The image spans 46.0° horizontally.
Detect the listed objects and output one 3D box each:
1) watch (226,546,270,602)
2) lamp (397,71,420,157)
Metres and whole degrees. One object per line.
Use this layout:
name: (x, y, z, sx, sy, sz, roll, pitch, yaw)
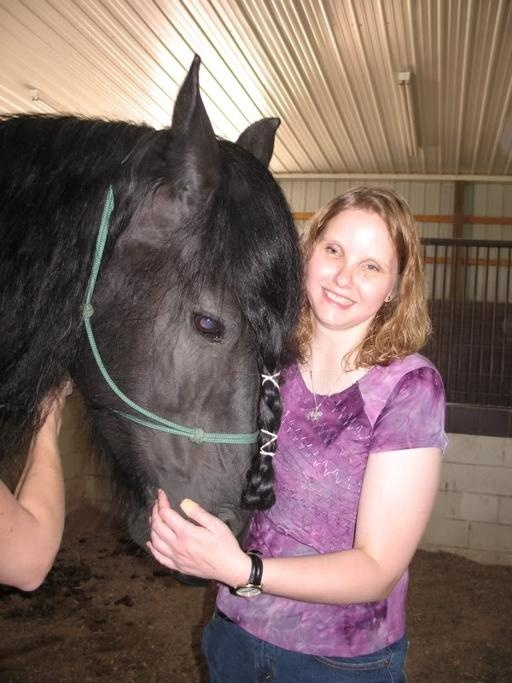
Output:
watch: (-0.013, 0.342, 0.907, 0.049, 0.071, 0.070, 5, 35, -29)
lamp: (1.196, -1.768, 4.692, 0.121, 0.586, 0.140, -13, 18, 4)
